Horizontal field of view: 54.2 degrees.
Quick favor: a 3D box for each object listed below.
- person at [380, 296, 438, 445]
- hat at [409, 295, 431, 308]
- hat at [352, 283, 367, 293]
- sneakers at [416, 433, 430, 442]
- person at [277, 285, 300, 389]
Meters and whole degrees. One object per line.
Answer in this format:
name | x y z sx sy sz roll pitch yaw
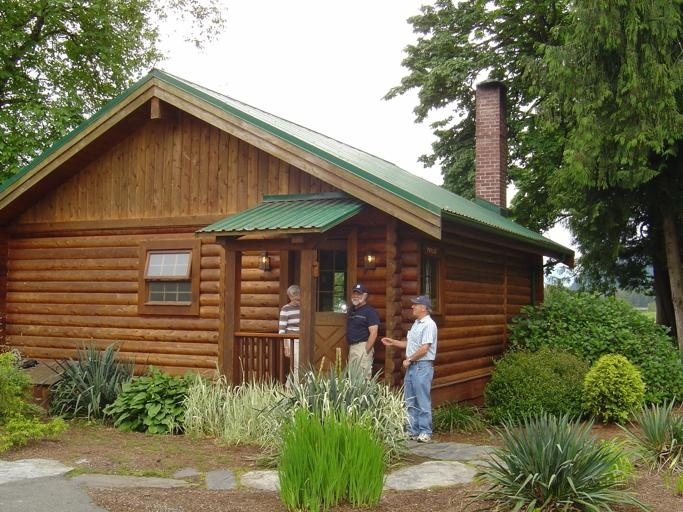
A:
person | 1.331 1.908 11.538 0.578 2.432 0.773 0 4 -3
hat | 1.393 0.765 11.716 0.267 0.164 0.200 11 1 15
hat | 0.344 0.602 12.627 0.265 0.193 0.572 0 4 2
sneakers | 1.396 3.062 11.331 0.235 0.155 0.199 0 4 2
person | -0.994 1.459 12.764 0.393 1.797 1.579 0 4 -5
